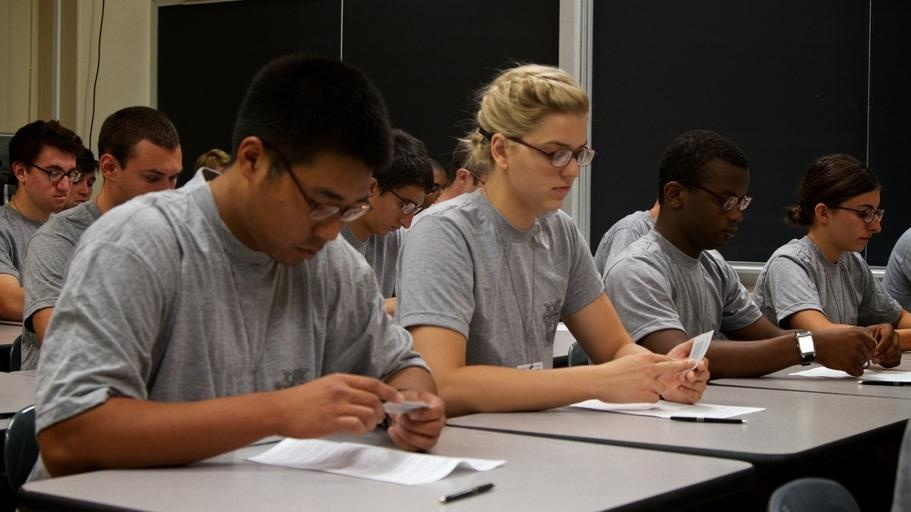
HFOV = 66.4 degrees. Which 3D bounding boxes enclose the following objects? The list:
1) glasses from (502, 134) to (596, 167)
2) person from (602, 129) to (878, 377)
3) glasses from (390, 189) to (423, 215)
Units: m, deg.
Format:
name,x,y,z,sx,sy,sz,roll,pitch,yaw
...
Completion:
name,x,y,z,sx,sy,sz,roll,pitch,yaw
glasses,0.412,-0.450,3.032,0.369,0.147,0.120,-2,1,4
person,1.474,-0.027,3.859,1.453,1.185,1.165,1,2,30
glasses,-0.285,-0.297,4.075,0.044,0.141,0.138,-41,-24,14
